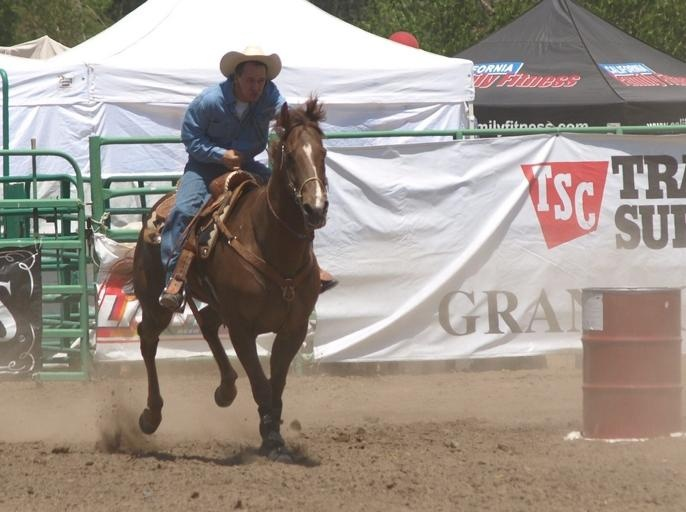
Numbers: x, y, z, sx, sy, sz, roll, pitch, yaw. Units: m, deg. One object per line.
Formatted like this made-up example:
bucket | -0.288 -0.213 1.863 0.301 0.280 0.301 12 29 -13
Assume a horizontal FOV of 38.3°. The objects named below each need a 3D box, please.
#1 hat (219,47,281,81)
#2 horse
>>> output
hat | -1.008 -2.091 10.732 0.642 0.358 0.402 -3 11 -8
horse | -1.090 0.234 10.563 2.415 3.792 0.737 5 12 31
